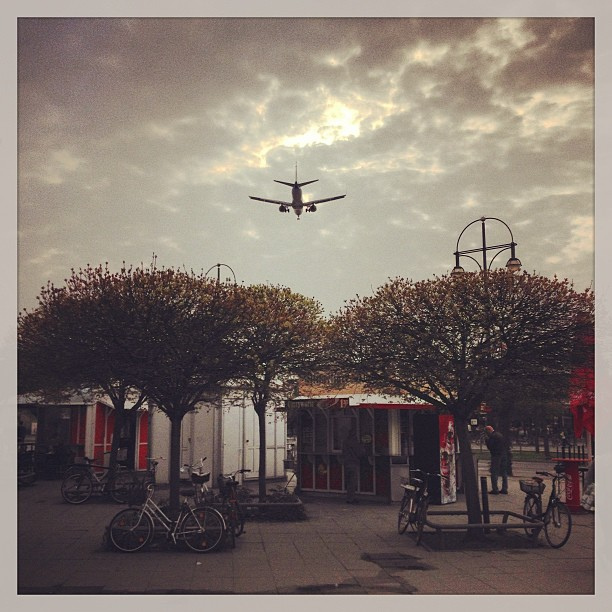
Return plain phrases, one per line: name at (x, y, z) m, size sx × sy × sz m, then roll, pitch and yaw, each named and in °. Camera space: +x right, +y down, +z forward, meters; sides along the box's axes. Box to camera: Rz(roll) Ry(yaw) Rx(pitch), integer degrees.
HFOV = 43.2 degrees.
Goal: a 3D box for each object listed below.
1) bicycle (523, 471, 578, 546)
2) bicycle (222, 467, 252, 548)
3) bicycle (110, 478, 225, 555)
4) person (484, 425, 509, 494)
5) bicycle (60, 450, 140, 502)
bicycle at (4.214, 3.473, 13.583) m, size 0.806 × 1.290 × 1.683 m, roll 4°, pitch 6°, yaw 16°
bicycle at (-1.228, 3.336, 13.129) m, size 0.441 × 1.387 × 1.197 m, roll 2°, pitch 6°, yaw -6°
bicycle at (-2.233, 3.383, 12.412) m, size 1.764 × 1.157 × 0.878 m, roll 4°, pitch -34°, yaw -14°
person at (4.062, 3.376, 16.505) m, size 0.501 × 1.330 × 0.297 m, roll 4°, pitch 6°, yaw 13°
bicycle at (-4.188, 3.559, 16.106) m, size 1.752 × 1.144 × 0.909 m, roll 1°, pitch -14°, yaw 5°
